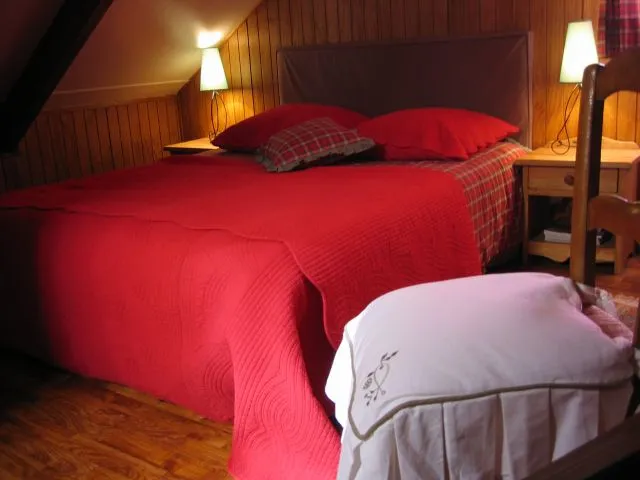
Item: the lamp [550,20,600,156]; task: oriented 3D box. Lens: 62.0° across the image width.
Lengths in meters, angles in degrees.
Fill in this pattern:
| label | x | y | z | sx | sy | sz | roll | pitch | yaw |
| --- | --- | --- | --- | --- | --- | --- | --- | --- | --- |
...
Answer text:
| label | x | y | z | sx | sy | sz | roll | pitch | yaw |
| --- | --- | --- | --- | --- | --- | --- | --- | --- | --- |
| lamp | 1.447 | -0.874 | 3.035 | 0.252 | 0.737 | 0.390 | 1 | 10 | 26 |
